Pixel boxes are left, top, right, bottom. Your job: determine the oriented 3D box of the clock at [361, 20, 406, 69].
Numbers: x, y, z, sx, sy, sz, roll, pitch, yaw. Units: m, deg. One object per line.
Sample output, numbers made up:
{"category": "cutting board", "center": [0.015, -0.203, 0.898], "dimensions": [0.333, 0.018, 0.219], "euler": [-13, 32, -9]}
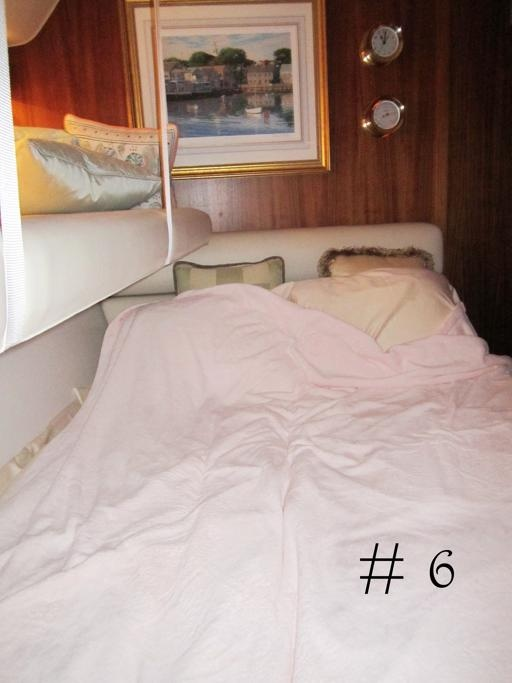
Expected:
{"category": "clock", "center": [0.545, -1.295, 2.317], "dimensions": [0.163, 0.160, 0.064], "euler": [-11, 25, -4]}
